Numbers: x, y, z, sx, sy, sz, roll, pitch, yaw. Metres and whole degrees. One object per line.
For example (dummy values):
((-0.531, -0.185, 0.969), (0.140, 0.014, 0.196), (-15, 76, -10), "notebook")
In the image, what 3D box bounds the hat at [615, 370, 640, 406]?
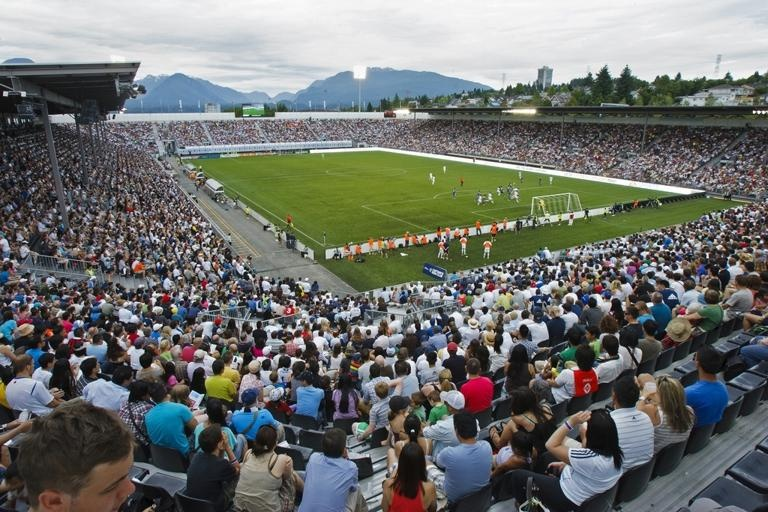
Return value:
((4.140, 2.382, 9.119), (0.376, 0.680, 0.260), (6, 18, 20), "hat")

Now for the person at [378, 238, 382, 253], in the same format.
((-0.258, -0.732, 36.474), (0.286, 0.940, 0.918), (-4, 17, -11), "person")

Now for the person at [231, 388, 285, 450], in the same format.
((-2.671, 3.636, 11.104), (1.039, 1.660, 1.018), (0, 0, 8), "person")

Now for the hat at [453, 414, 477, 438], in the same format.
((1.425, 3.009, 9.339), (0.388, 0.471, 0.161), (2, 17, 8), "hat")

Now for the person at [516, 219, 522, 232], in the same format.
((10.459, -2.419, 41.340), (0.264, 1.067, 1.684), (6, 18, 22), "person")

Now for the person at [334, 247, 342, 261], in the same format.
((-3.134, -0.188, 35.897), (0.448, 0.622, 0.924), (0, 17, 2), "person")

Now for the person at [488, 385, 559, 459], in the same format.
((2.611, 3.331, 10.354), (1.304, 1.659, 1.061), (9, 19, 27), "person")

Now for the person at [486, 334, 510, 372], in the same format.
((2.931, 2.526, 13.926), (0.477, 0.536, 1.479), (14, 26, 6), "person")

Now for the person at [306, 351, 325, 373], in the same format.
((-1.784, 2.779, 13.658), (0.312, 0.789, 0.451), (-4, 45, 5), "person")

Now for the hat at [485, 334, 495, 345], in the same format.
((2.748, 2.201, 13.850), (0.223, 0.191, 0.241), (-4, 0, 3), "hat")

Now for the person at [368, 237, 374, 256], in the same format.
((-0.895, -0.675, 36.455), (0.342, 1.056, 0.501), (-2, 17, -5), "person")

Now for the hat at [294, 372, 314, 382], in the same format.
((-1.920, 2.979, 12.825), (0.419, 0.306, 0.299), (-8, -14, 44), "hat")

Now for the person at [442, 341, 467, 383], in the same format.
((1.726, 2.701, 13.223), (0.509, 1.060, 0.610), (-9, 29, 5), "person")

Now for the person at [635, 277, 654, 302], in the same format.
((8.302, 1.093, 16.981), (0.348, 0.805, 0.475), (9, 35, 24), "person")

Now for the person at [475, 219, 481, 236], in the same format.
((7.214, -2.167, 40.486), (0.363, 1.140, 1.484), (3, 18, 13), "person")

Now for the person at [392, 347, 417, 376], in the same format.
((0.527, 2.552, 13.096), (0.479, 0.362, 0.748), (-5, 4, 4), "person")

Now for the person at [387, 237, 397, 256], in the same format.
((0.544, -0.675, 36.523), (0.605, 0.913, 1.223), (0, 17, 2), "person")

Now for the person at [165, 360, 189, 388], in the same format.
((-4.926, 2.842, 12.564), (0.490, 1.021, 0.376), (1, 16, -4), "person")

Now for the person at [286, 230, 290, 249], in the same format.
((-6.835, -1.092, 37.766), (0.267, 1.050, 0.785), (-7, 18, -20), "person")

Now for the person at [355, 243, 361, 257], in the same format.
((-1.769, -0.425, 36.069), (0.368, 0.835, 0.938), (0, 17, 2), "person")

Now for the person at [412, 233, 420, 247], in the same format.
((2.399, -1.179, 38.288), (0.549, 0.753, 1.160), (6, 18, 21), "person")

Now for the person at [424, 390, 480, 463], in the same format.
((1.267, 3.284, 10.047), (0.903, 2.085, 0.815), (6, 48, -15), "person")

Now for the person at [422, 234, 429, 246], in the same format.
((2.960, -1.218, 38.392), (0.357, 0.753, 1.320), (2, 17, 10), "person")

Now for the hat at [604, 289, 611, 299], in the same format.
((7.468, 1.294, 17.773), (0.186, 0.134, 0.302), (38, 10, 13), "hat")

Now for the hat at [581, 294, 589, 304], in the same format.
((6.660, 1.442, 17.633), (0.147, 0.205, 0.269), (16, 9, 4), "hat")

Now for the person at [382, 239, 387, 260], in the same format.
((0.053, -0.564, 36.167), (0.389, 0.900, 0.912), (-2, 17, -3), "person")

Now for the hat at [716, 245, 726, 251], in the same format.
((14.464, -0.340, 22.827), (0.228, 0.199, 0.368), (-9, 9, -3), "hat")

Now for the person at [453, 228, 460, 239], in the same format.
((5.440, -1.747, 39.850), (0.551, 0.794, 1.289), (1, 17, 6), "person")

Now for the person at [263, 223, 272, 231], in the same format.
((-9.449, -2.394, 42.881), (0.675, 0.438, 0.971), (-5, 18, -14), "person")

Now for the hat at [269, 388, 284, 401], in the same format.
((-2.403, 3.114, 12.012), (0.215, 0.175, 0.334), (8, 29, 17), "hat")

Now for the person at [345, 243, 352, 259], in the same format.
((-2.415, -0.344, 35.653), (0.455, 0.941, 0.615), (-2, 17, -5), "person")

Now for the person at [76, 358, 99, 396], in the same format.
((-6.478, 2.667, 11.679), (0.481, 0.771, 0.981), (-3, 6, -21), "person")

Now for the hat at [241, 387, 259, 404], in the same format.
((-2.750, 2.848, 10.867), (0.281, 0.232, 0.375), (6, 47, 4), "hat")

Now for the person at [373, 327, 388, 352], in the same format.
((-0.078, 2.414, 15.335), (0.611, 0.753, 0.485), (2, 35, -3), "person")

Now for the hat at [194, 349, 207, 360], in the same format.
((-4.477, 2.402, 12.948), (0.215, 0.259, 0.264), (11, 40, -6), "hat")

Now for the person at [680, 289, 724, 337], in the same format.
((8.094, 1.508, 13.519), (0.672, 1.451, 0.902), (-10, 36, 1), "person")

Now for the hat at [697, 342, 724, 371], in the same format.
((6.043, 1.961, 9.919), (0.388, 0.568, 0.243), (8, 19, 26), "hat")

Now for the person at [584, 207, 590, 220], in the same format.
((17.121, -3.585, 44.786), (0.512, 0.901, 1.046), (5, 18, 19), "person")

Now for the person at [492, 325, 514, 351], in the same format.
((3.204, 2.282, 14.462), (0.442, 1.021, 0.575), (-5, 55, 4), "person")
